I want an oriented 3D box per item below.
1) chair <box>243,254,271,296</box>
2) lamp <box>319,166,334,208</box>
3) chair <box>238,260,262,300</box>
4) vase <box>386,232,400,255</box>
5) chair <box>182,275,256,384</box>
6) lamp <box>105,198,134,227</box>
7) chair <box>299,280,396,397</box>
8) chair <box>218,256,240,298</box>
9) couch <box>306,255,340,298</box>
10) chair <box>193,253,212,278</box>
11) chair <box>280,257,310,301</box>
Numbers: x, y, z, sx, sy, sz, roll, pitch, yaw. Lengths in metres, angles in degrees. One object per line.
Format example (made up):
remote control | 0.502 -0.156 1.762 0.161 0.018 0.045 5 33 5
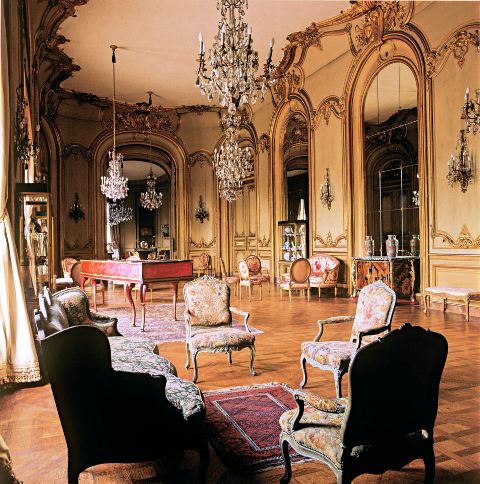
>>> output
chair | 0.199 0.689 8.785 0.421 0.773 0.483 0 4 25
lamp | 1.756 -1.099 9.243 0.097 0.841 0.442 -2 -1 -19
chair | 0.179 0.692 8.789 0.439 0.806 0.491 -4 9 -2
vase | 2.456 0.062 7.237 0.172 0.376 0.307 -3 -1 15
chair | -0.214 0.739 3.946 0.545 0.968 0.601 -1 -7 -16
lamp | -5.331 -1.214 19.808 1.124 1.983 1.192 -3 5 -25
chair | 0.813 0.731 3.354 0.578 0.901 0.597 4 -2 -7
chair | -0.254 0.776 9.969 0.588 1.237 0.631 -2 3 0
couch | 1.566 0.653 8.798 0.513 0.833 0.651 0 6 -43
chair | -1.061 0.650 12.378 0.553 0.996 0.614 0 -2 2
chair | 1.043 0.659 8.232 0.424 0.866 0.480 -2 9 -11
